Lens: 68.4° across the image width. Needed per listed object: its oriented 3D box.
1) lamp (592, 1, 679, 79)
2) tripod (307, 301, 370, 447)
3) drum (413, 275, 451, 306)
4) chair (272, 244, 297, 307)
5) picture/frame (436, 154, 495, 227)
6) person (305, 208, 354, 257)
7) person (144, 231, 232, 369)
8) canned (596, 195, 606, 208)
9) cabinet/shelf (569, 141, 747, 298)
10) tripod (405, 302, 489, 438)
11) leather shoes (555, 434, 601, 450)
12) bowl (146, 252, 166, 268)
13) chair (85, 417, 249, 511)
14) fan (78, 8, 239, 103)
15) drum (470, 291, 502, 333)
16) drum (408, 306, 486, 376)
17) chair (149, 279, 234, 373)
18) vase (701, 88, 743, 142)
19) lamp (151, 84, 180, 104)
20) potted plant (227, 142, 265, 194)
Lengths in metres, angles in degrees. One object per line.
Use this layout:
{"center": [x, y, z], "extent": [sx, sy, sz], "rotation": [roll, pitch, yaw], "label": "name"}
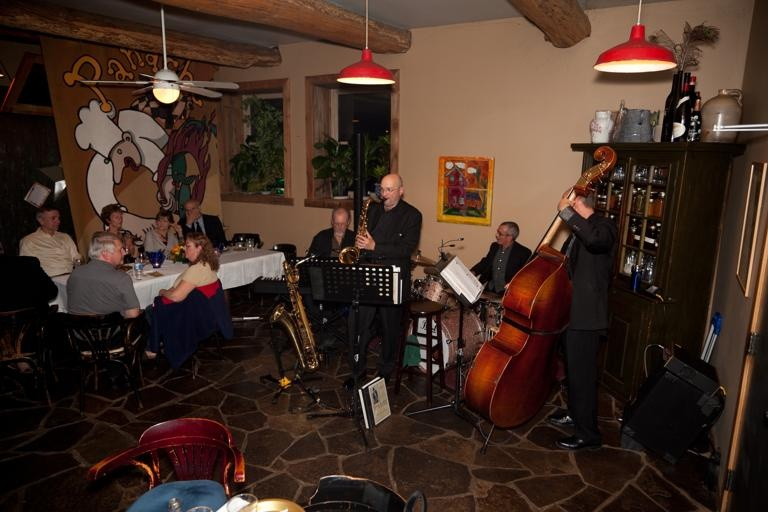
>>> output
{"center": [2.473, -2.056, 5.551], "extent": [0.660, 0.395, 0.571], "rotation": [-5, 15, -27], "label": "lamp"}
{"center": [-0.479, 1.206, 6.588], "extent": [0.527, 1.568, 1.217], "rotation": [0, 13, -7], "label": "tripod"}
{"center": [0.624, 0.445, 7.442], "extent": [0.386, 0.446, 0.438], "rotation": [26, 2, 14], "label": "drum"}
{"center": [-1.446, 0.294, 8.080], "extent": [0.378, 1.007, 0.392], "rotation": [4, 3, 26], "label": "chair"}
{"center": [1.294, -1.045, 8.823], "extent": [1.011, 1.232, 0.083], "rotation": [4, 4, 32], "label": "picture/frame"}
{"center": [-0.834, -0.382, 8.667], "extent": [0.652, 0.906, 0.501], "rotation": [9, 14, -16], "label": "person"}
{"center": [-2.491, 0.567, 7.199], "extent": [0.999, 1.674, 0.274], "rotation": [-5, 14, -27], "label": "person"}
{"center": [2.823, -0.731, 7.396], "extent": [0.130, 0.151, 0.133], "rotation": [-2, 4, -32], "label": "canned"}
{"center": [3.183, -0.390, 6.439], "extent": [0.690, 2.170, 1.610], "rotation": [-2, 6, -22], "label": "cabinet/shelf"}
{"center": [0.782, 1.168, 7.360], "extent": [0.966, 0.992, 0.991], "rotation": [7, -4, -34], "label": "tripod"}
{"center": [2.130, 2.076, 6.287], "extent": [0.481, 0.217, 0.183], "rotation": [4, -4, 5], "label": "leather shoes"}
{"center": [-3.229, 0.058, 7.996], "extent": [0.219, 0.229, 0.206], "rotation": [-1, 6, 0], "label": "bowl"}
{"center": [-2.035, 1.976, 5.243], "extent": [0.925, 1.027, 0.710], "rotation": [1, -3, 0], "label": "chair"}
{"center": [-3.689, -3.233, 8.950], "extent": [1.468, 1.417, 1.546], "rotation": [2, 7, -1], "label": "fan"}
{"center": [1.330, 0.708, 7.233], "extent": [0.346, 0.500, 0.173], "rotation": [3, 3, 17], "label": "drum"}
{"center": [0.777, 1.048, 7.280], "extent": [0.912, 1.028, 0.818], "rotation": [7, 13, 37], "label": "drum"}
{"center": [-2.593, 0.899, 7.629], "extent": [1.062, 1.198, 0.916], "rotation": [8, 7, 11], "label": "chair"}
{"center": [3.818, -1.612, 6.444], "extent": [0.602, 0.606, 0.347], "rotation": [-8, 16, -37], "label": "vase"}
{"center": [-2.759, -2.074, 7.137], "extent": [0.325, 0.234, 0.344], "rotation": [-1, 1, 5], "label": "lamp"}
{"center": [-2.578, -1.712, 10.848], "extent": [0.485, 0.878, 0.837], "rotation": [3, 11, -4], "label": "potted plant"}
